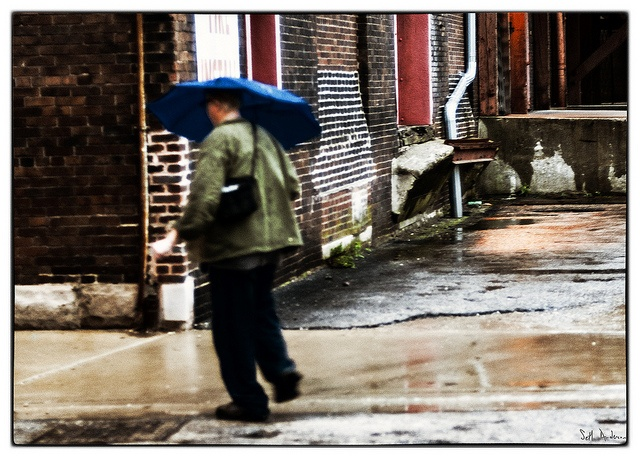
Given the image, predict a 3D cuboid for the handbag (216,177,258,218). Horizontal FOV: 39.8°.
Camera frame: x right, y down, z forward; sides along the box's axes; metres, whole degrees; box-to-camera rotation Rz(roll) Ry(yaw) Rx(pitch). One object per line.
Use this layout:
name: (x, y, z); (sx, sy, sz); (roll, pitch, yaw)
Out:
handbag: (-0.680, -0.241, 7.104); (0.306, 0.371, 0.094); (-6, 15, -24)

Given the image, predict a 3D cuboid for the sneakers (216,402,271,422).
sneakers: (-0.688, 1.559, 7.516); (0.507, 0.141, 0.165); (5, -3, 7)

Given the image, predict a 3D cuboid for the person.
person: (-0.675, 0.261, 7.321); (1.032, 2.777, 0.693); (-1, 14, -1)
